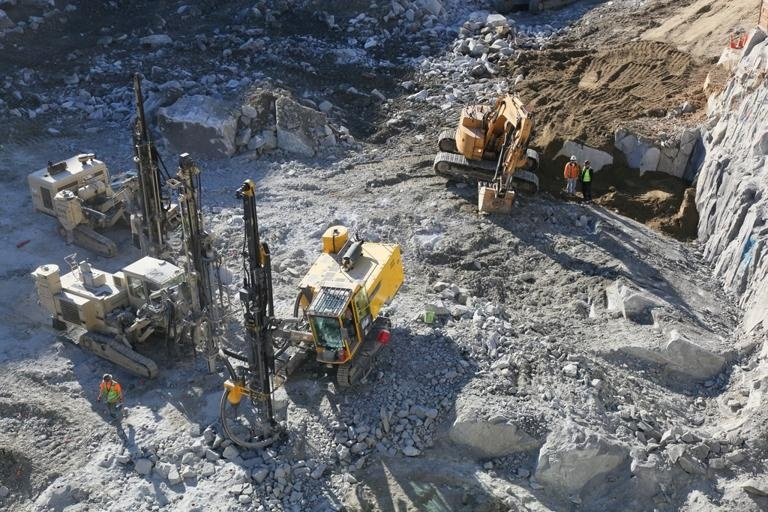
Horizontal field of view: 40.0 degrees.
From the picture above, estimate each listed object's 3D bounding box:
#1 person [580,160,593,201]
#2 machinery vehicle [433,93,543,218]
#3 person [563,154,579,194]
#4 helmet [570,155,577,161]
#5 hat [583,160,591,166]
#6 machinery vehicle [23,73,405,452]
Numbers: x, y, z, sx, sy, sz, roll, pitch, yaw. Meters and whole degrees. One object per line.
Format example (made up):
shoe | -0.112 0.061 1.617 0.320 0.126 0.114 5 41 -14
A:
person | 7.571 -2.870 39.368 0.501 1.457 0.948 6 37 10
machinery vehicle | 3.928 -4.312 39.523 3.317 3.114 5.075 -5 44 -4
person | 7.030 -3.070 39.521 0.585 1.444 0.774 5 37 8
helmet | 7.035 -3.622 39.350 0.244 0.169 0.347 -3 20 13
hat | 7.528 -3.467 39.171 0.232 0.113 0.320 0 4 11
machinery vehicle | -6.709 -0.886 34.915 14.624 8.542 10.290 17 40 23
